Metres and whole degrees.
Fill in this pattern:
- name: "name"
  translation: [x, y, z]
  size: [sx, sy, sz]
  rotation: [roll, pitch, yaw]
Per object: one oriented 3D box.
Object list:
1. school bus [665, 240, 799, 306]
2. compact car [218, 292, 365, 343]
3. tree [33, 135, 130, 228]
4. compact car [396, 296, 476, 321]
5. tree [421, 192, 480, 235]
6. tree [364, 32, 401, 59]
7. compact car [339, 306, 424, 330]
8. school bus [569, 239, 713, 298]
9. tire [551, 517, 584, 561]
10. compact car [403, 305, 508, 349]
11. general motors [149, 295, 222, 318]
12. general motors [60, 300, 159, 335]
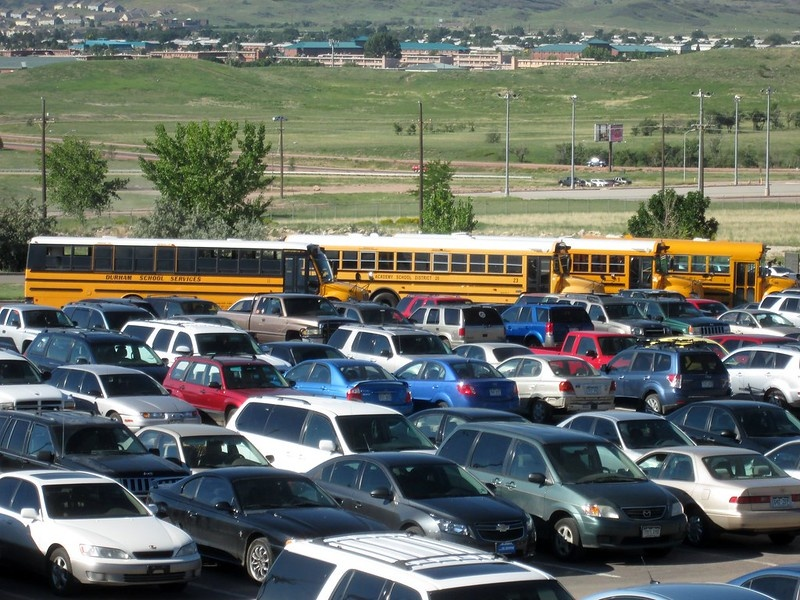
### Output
- name: "school bus"
  translation: [15.124, -1.175, 76.211]
  size: [6.855, 3.023, 2.447]
  rotation: [2, 9, 20]
- name: "compact car"
  translation: [-3.981, 0.706, 63.559]
  size: [4.122, 1.395, 2.022]
  rotation: [1, 4, 37]
- name: "tree"
  translation: [-22.837, -7.589, 118.140]
  size: [8.485, 5.711, 6.975]
  rotation: [6, 10, -4]
- name: "compact car"
  translation: [1.034, 0.315, 66.421]
  size: [2.305, 0.859, 1.115]
  rotation: [5, 7, 30]
- name: "tree"
  translation: [2.691, -4.933, 101.836]
  size: [2.764, 2.100, 4.693]
  rotation: [-2, 8, 0]
- name: "tree"
  translation: [-4.594, -65.823, 465.966]
  size: [9.242, 8.956, 8.488]
  rotation: [0, 7, 30]
- name: "compact car"
  translation: [-0.950, 0.549, 63.710]
  size: [1.907, 0.840, 1.107]
  rotation: [1, 4, 31]
- name: "school bus"
  translation: [10.254, -1.448, 76.847]
  size: [6.504, 2.894, 2.323]
  rotation: [0, 6, 6]
- name: "tire"
  translation: [4.331, 6.044, 45.374]
  size: [1.189, 1.226, 0.433]
  rotation: [-2, -4, 44]
- name: "compact car"
  translation: [1.986, 0.872, 63.159]
  size: [1.457, 1.041, 2.664]
  rotation: [-4, 10, -42]
- name: "general motors"
  translation: [-8.221, 0.303, 65.334]
  size: [1.922, 0.749, 1.050]
  rotation: [1, 5, 28]
- name: "general motors"
  translation: [-10.226, 0.596, 61.115]
  size: [2.617, 0.960, 1.266]
  rotation: [0, 6, 26]
